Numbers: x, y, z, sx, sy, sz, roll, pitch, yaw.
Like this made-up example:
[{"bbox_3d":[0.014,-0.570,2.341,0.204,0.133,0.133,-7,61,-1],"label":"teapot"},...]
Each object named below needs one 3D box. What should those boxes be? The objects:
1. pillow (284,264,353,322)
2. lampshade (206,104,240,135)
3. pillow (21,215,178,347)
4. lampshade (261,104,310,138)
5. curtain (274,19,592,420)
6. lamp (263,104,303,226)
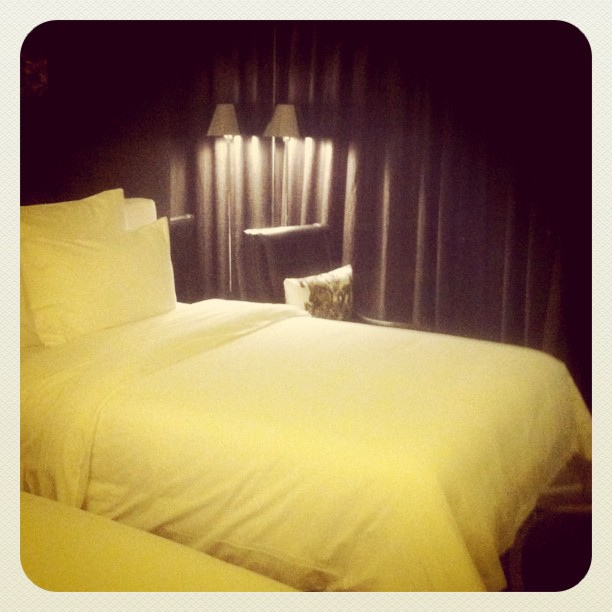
[{"bbox_3d":[0.107,-0.027,2.754,0.417,0.323,0.110,-12,13,-36],"label":"pillow"},{"bbox_3d":[-0.500,-1.134,3.399,0.177,0.187,0.177,-2,14,-18],"label":"lampshade"},{"bbox_3d":[-0.759,-0.115,1.984,0.335,0.439,0.489,16,18,37],"label":"pillow"},{"bbox_3d":[-0.134,-1.157,3.576,0.263,0.196,0.250,10,15,33],"label":"lampshade"},{"bbox_3d":[0.893,-0.867,3.552,1.998,2.533,0.648,9,17,28],"label":"curtain"},{"bbox_3d":[-0.158,-0.924,3.610,0.168,0.734,0.189,-4,18,-32],"label":"lamp"}]
